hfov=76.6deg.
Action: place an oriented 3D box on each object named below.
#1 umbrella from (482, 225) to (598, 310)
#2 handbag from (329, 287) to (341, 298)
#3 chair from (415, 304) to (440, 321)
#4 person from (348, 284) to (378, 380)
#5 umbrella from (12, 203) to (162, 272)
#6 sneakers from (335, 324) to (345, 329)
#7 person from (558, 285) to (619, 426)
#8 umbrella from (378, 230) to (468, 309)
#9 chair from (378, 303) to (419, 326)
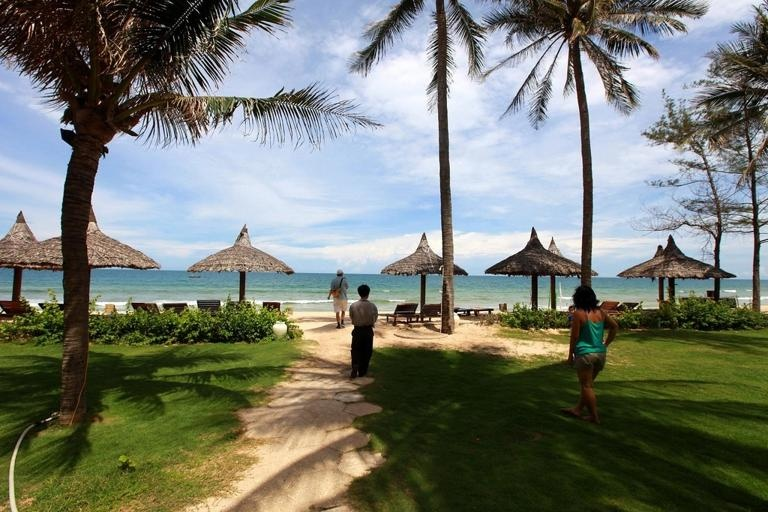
[{"bbox_3d":[6.828,0.532,23.308,5.278,3.584,5.267,0,-5,3],"label":"umbrella"},{"bbox_3d":[-1.748,1.340,17.536,0.361,0.441,0.282,2,15,5],"label":"handbag"},{"bbox_3d":[1.824,2.239,19.694,0.798,0.503,0.829,0,6,-8],"label":"chair"},{"bbox_3d":[-0.523,1.862,12.090,0.642,2.370,0.701,0,15,-4],"label":"person"},{"bbox_3d":[-9.006,-0.206,14.370,2.825,1.117,2.491,0,-7,-6],"label":"umbrella"},{"bbox_3d":[-1.585,2.591,17.925,0.275,0.212,0.125,0,-2,-5],"label":"sneakers"},{"bbox_3d":[4.082,1.951,9.739,0.852,2.697,0.806,7,16,21],"label":"person"},{"bbox_3d":[1.722,0.665,22.029,3.615,2.846,3.764,-1,-5,2],"label":"umbrella"},{"bbox_3d":[0.743,2.350,19.867,0.862,0.638,1.493,1,-2,-11],"label":"chair"}]
